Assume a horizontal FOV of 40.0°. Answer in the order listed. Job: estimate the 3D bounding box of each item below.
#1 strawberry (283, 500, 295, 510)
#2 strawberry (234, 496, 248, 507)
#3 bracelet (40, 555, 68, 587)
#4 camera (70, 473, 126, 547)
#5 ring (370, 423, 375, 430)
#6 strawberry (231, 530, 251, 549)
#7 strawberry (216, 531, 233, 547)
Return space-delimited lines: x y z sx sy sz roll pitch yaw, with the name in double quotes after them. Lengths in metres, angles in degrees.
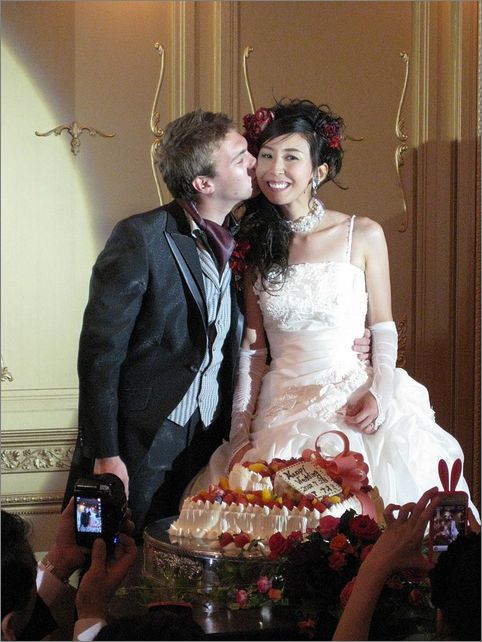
0.116 0.431 1.559 0.026 0.021 0.056 -3 0 4 "strawberry"
0.004 0.426 1.574 0.020 0.012 0.019 5 -9 -35 "strawberry"
-0.415 0.535 1.444 0.069 0.026 0.071 45 -10 -37 "bracelet"
-0.269 0.394 1.384 0.105 0.126 0.148 -1 0 21 "camera"
0.438 0.343 2.180 0.018 0.019 0.021 -3 29 -3 "ring"
0.000 0.474 1.436 0.036 0.027 0.019 25 -1 -26 "strawberry"
-0.030 0.472 1.432 0.041 0.030 0.032 17 -42 -28 "strawberry"
